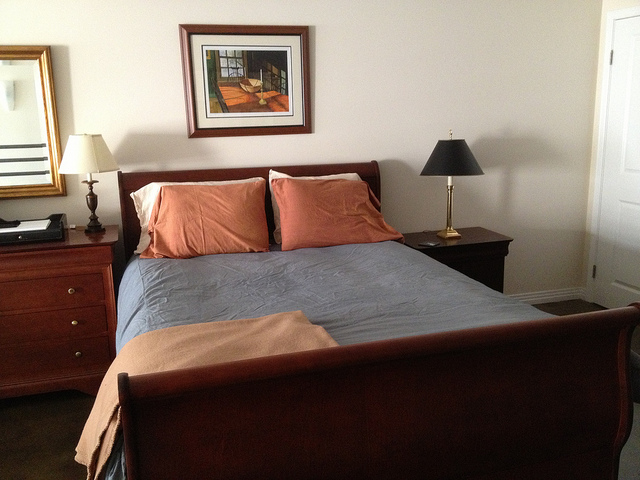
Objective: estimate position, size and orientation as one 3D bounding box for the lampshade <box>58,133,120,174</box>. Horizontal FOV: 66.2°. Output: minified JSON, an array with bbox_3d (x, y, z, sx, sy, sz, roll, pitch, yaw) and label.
[{"bbox_3d":[-1.399,-0.512,2.991,0.266,0.177,0.270,4,17,15],"label":"lampshade"}]

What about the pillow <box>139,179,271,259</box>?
[{"bbox_3d":[-0.645,-0.173,2.912,0.635,0.503,0.170,-3,-14,-15],"label":"pillow"}]

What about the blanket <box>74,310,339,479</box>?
[{"bbox_3d":[-0.449,0.575,1.919,0.951,0.422,0.562,-8,14,-28],"label":"blanket"}]

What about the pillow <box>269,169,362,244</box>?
[{"bbox_3d":[-0.153,-0.205,3.271,0.551,0.565,0.161,-6,1,-21],"label":"pillow"}]

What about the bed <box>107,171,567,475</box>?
[{"bbox_3d":[-0.164,0.091,2.588,1.754,0.690,1.807,-6,13,-21],"label":"bed"}]

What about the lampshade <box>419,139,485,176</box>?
[{"bbox_3d":[0.951,-0.572,3.443,0.303,0.208,0.303,-10,13,-33],"label":"lampshade"}]
